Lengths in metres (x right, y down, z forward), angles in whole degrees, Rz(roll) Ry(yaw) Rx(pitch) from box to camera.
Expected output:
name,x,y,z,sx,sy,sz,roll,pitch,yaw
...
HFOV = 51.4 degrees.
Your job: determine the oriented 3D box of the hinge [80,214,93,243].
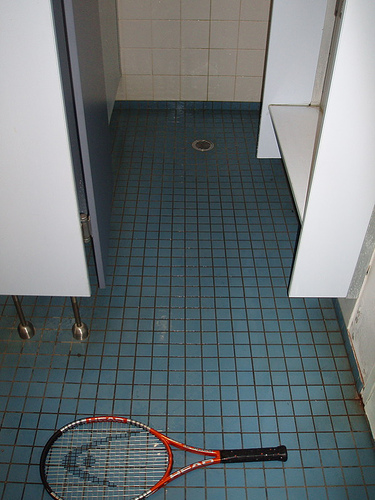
name,x,y,z,sx,sy,sz,roll,pitch,yaw
hinge,-0.389,-0.085,1.486,0.020,0.085,0.063,4,19,14
